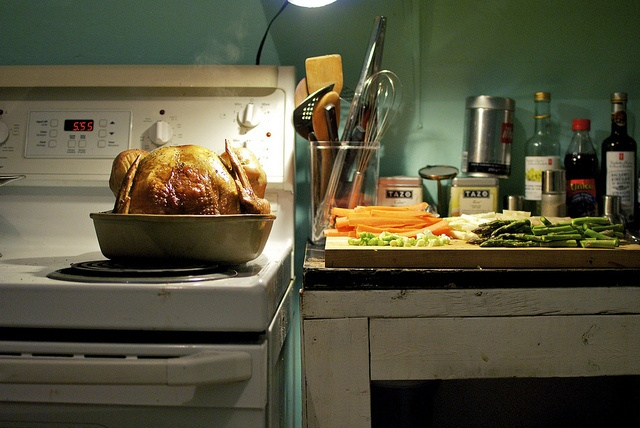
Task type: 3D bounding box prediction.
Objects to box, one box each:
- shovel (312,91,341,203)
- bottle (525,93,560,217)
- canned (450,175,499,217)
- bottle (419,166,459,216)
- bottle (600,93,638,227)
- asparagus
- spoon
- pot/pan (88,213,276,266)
[{"bbox_3d":[0.016,-0.215,1.672,0.085,0.323,0.099,3,7,14],"label":"shovel"},{"bbox_3d":[0.726,-0.213,1.818,0.121,0.447,0.122,2,2,0],"label":"bottle"},{"bbox_3d":[0.498,-0.058,1.721,0.138,0.129,0.101,-2,6,4],"label":"canned"},{"bbox_3d":[0.408,-0.083,1.876,0.139,0.171,0.099,-1,6,12],"label":"bottle"},{"bbox_3d":[0.971,-0.173,1.795,0.133,0.433,0.124,0,-1,0],"label":"bottle"},{"bbox_3d":[0.603,0.055,1.393,0.455,0.094,0.132,0,-2,2],"label":"asparagus"},{"bbox_3d":[0.021,-0.224,1.672,0.075,0.294,0.092,4,7,15],"label":"spoon"},{"bbox_3d":[-0.336,0.063,1.310,0.443,0.128,0.094,0,6,-5],"label":"pot/pan"}]
